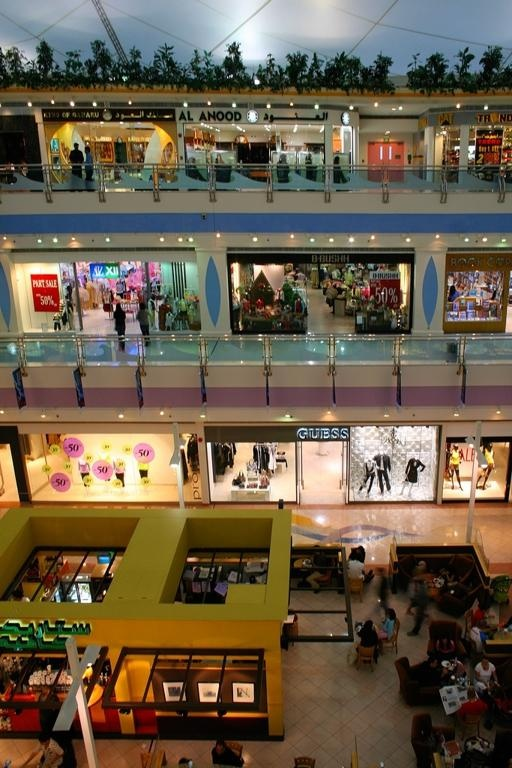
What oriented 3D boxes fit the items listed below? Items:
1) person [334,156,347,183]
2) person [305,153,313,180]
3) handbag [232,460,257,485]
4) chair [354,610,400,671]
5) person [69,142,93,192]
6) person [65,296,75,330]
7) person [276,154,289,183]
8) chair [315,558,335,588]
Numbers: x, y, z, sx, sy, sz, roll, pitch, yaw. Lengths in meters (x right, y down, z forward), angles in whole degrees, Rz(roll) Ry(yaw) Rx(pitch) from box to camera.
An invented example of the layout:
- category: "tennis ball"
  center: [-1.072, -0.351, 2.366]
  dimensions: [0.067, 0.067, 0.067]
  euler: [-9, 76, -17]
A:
- category: "person"
  center: [2.624, -6.746, 16.342]
  dimensions: [0.412, 0.997, 1.019]
  euler: [1, 12, 9]
- category: "person"
  center: [1.644, -6.706, 16.116]
  dimensions: [0.252, 0.834, 0.487]
  euler: [0, 12, 5]
- category: "handbag"
  center: [-0.275, 2.582, 14.871]
  dimensions: [0.538, 0.254, 0.764]
  euler: [0, 24, 7]
- category: "chair"
  center: [2.122, 4.425, 9.073]
  dimensions: [0.805, 0.930, 0.939]
  euler: [0, 13, 0]
- category: "person"
  center: [-5.500, -6.850, 16.486]
  dimensions: [0.698, 1.498, 1.441]
  euler: [-5, 13, -18]
- category: "person"
  center: [-6.929, -2.622, 19.507]
  dimensions: [0.240, 1.094, 0.404]
  euler: [-3, 12, -10]
- category: "person"
  center: [0.802, -6.627, 16.060]
  dimensions: [0.370, 0.869, 0.238]
  euler: [0, 12, 5]
- category: "chair"
  center: [1.230, 3.366, 9.324]
  dimensions: [0.363, 0.431, 0.358]
  euler: [0, -6, 18]
